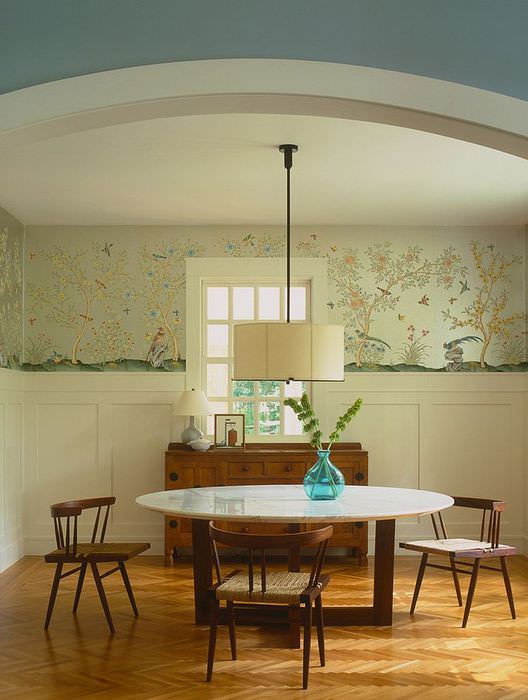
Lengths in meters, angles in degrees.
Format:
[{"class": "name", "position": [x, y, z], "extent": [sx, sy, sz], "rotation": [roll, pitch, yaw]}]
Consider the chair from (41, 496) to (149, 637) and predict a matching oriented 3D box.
[{"class": "chair", "position": [-0.963, 1.234, 3.903], "extent": [0.566, 0.626, 0.558], "rotation": [-2, -8, 14]}]

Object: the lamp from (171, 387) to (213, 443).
[{"class": "lamp", "position": [-0.579, 0.569, 5.547], "extent": [0.363, 0.457, 0.345], "rotation": [-3, -7, 19]}]

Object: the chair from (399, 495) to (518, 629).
[{"class": "chair", "position": [1.175, 1.260, 4.051], "extent": [0.571, 0.634, 0.569], "rotation": [6, -10, -20]}]

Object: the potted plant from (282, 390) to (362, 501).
[{"class": "potted plant", "position": [0.259, 0.546, 3.718], "extent": [0.487, 0.543, 0.377], "rotation": [13, -19, -40]}]

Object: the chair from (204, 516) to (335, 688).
[{"class": "chair", "position": [0.016, 1.147, 3.082], "extent": [0.592, 0.613, 0.474], "rotation": [-2, -10, 14]}]

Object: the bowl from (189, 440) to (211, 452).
[{"class": "bowl", "position": [-0.512, 0.787, 5.457], "extent": [0.137, 0.053, 0.094], "rotation": [0, -2, -5]}]

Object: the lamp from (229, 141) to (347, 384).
[{"class": "lamp", "position": [0.169, -0.513, 3.978], "extent": [0.544, 1.481, 1.609], "rotation": [-1, -6, 5]}]

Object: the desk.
[{"class": "desk", "position": [0.159, 1.139, 3.610], "extent": [1.730, 0.589, 1.531], "rotation": [-1, -9, 8]}]
